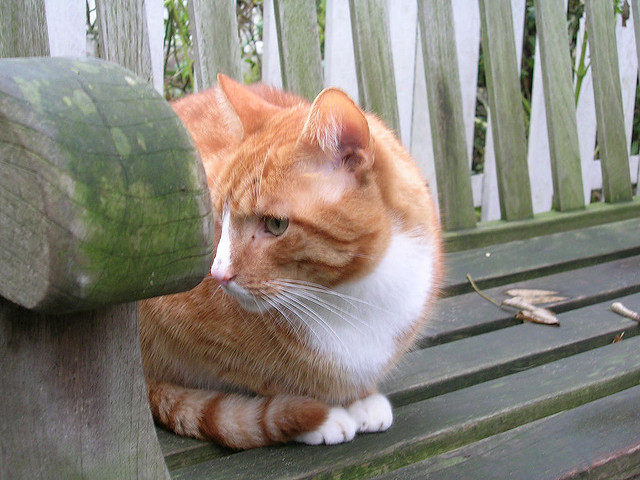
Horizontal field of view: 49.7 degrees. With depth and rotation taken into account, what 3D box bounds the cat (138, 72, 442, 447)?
[{"bbox_3d":[-0.010,-0.031,1.793,0.512,0.928,0.949,-8,24,-8],"label":"cat"}]
